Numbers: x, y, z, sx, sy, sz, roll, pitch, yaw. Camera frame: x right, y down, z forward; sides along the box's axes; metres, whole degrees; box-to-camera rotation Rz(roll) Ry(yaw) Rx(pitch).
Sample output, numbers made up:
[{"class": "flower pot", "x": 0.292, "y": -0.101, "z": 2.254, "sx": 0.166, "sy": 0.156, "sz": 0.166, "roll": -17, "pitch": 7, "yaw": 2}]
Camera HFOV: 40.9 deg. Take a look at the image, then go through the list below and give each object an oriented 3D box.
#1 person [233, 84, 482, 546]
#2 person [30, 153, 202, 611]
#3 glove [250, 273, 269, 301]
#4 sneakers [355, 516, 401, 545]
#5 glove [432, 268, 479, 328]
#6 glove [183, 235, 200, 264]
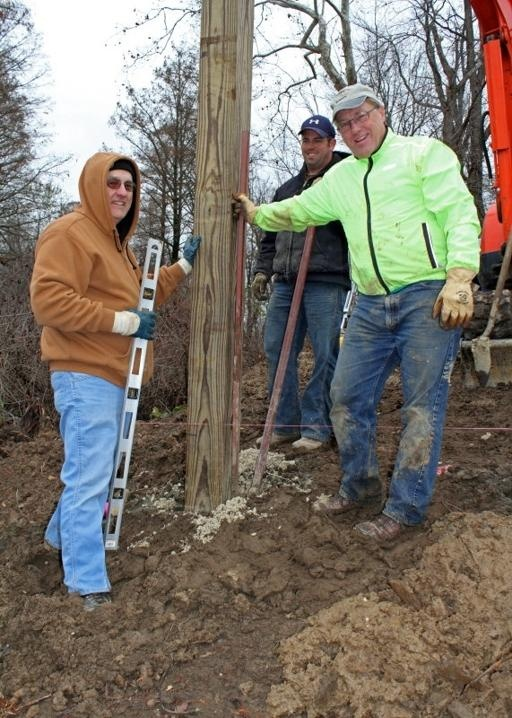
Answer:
[{"class": "person", "x": 0.625, "y": -0.235, "z": 3.505, "sx": 0.445, "sy": 2.248, "sz": 1.048, "roll": -5, "pitch": 13, "yaw": -40}, {"class": "person", "x": -0.794, "y": 0.067, "z": 3.404, "sx": 0.549, "sy": 2.144, "sz": 0.885, "roll": 4, "pitch": 10, "yaw": 1}, {"class": "glove", "x": 0.021, "y": -0.505, "z": 4.834, "sx": 0.073, "sy": 0.174, "sz": 0.144, "roll": 14, "pitch": -19, "yaw": -28}, {"class": "sneakers", "x": 0.606, "y": 0.865, "z": 3.399, "sx": 0.214, "sy": 0.078, "sz": 0.114, "roll": 5, "pitch": 31, "yaw": 4}, {"class": "glove", "x": 0.923, "y": -0.272, "z": 3.145, "sx": 0.144, "sy": 0.278, "sz": 0.088, "roll": 6, "pitch": 10, "yaw": 16}, {"class": "glove", "x": -0.346, "y": -0.593, "z": 3.718, "sx": 0.118, "sy": 0.132, "sz": 0.043, "roll": 6, "pitch": 6, "yaw": 44}]
